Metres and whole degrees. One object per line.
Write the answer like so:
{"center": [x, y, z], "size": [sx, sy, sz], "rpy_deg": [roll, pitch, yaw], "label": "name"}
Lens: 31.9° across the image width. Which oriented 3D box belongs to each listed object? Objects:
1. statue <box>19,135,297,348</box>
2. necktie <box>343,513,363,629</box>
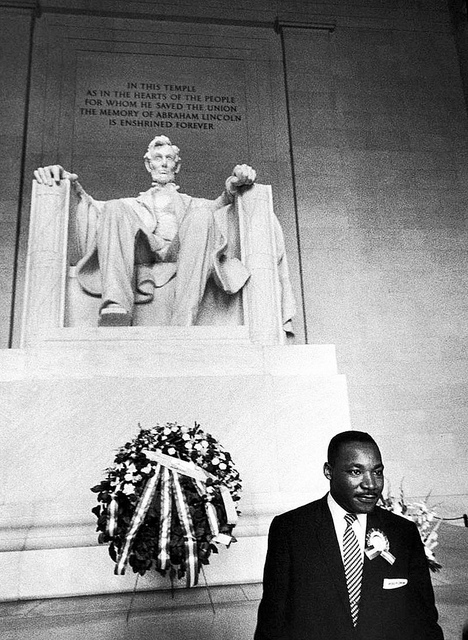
{"center": [-0.775, -0.663, 7.406], "size": [2.368, 1.975, 0.891], "rpy_deg": [1, -20, -7], "label": "statue"}
{"center": [0.380, 0.799, 2.623], "size": [0.059, 0.331, 0.119], "rpy_deg": [1, -3, -4], "label": "necktie"}
